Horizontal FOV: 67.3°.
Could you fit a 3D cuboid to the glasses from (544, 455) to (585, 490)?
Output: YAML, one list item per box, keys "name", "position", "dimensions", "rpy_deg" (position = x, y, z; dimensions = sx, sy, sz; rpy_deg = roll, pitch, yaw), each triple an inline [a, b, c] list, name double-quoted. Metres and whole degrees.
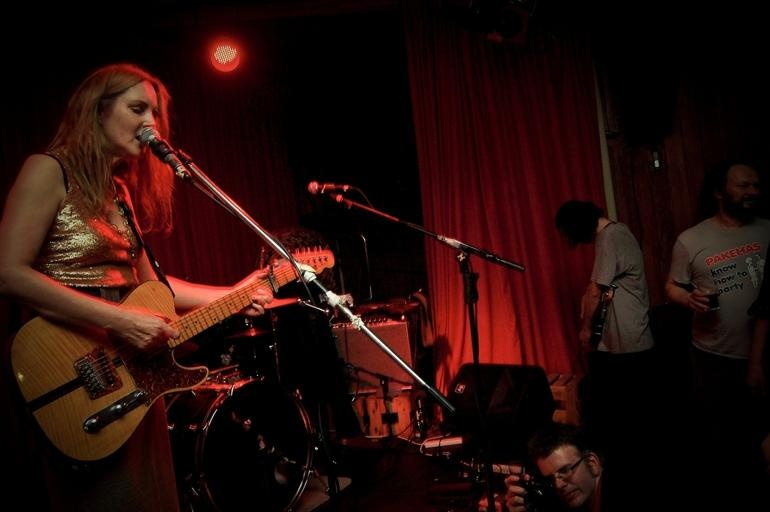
- name: "glasses"
  position: [1.047, 1.240, 3.343]
  dimensions: [0.232, 0.153, 0.098]
  rpy_deg: [-11, -5, 18]
